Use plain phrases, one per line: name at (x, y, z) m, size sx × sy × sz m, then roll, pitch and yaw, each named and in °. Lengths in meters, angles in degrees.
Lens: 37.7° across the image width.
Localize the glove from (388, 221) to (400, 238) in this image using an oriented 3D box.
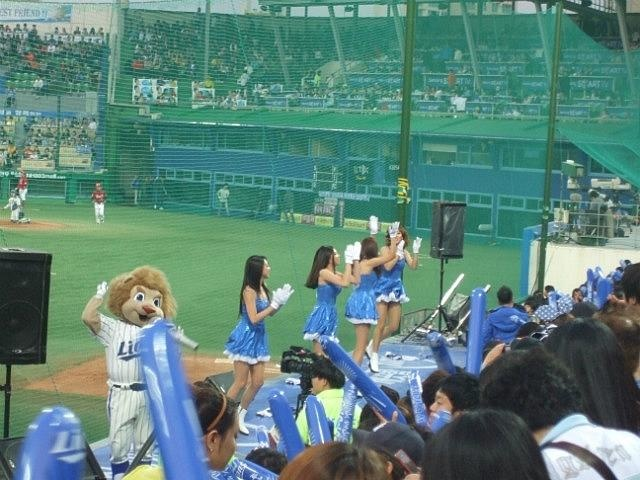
glove at (1.063, -0.165, 13.527) m, size 0.139 × 0.118 × 0.220 m, roll 4°, pitch -30°, yaw 13°

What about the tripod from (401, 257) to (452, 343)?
tripod at (1.950, 1.110, 17.513) m, size 0.954 × 1.439 × 0.899 m, roll -6°, pitch 17°, yaw -17°

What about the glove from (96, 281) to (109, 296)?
glove at (-2.189, 0.479, 9.329) m, size 0.079 × 0.157 × 0.292 m, roll 0°, pitch 3°, yaw -6°

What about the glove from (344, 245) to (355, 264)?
glove at (0.381, 0.193, 12.976) m, size 0.154 × 0.224 × 0.068 m, roll 6°, pitch -3°, yaw -39°

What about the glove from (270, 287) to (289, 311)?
glove at (-0.484, 0.708, 11.438) m, size 0.222 × 0.289 × 0.105 m, roll 25°, pitch -10°, yaw 35°

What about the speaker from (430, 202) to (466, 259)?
speaker at (2.091, -0.164, 15.223) m, size 0.543 × 0.932 × 0.464 m, roll 1°, pitch 3°, yaw 5°

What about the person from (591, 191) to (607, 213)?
person at (6.622, -0.935, 22.191) m, size 0.407 × 0.531 × 0.845 m, roll 2°, pitch 3°, yaw 16°

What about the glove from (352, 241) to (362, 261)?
glove at (0.511, 0.137, 13.011) m, size 0.127 × 0.226 × 0.064 m, roll 2°, pitch -5°, yaw 4°
